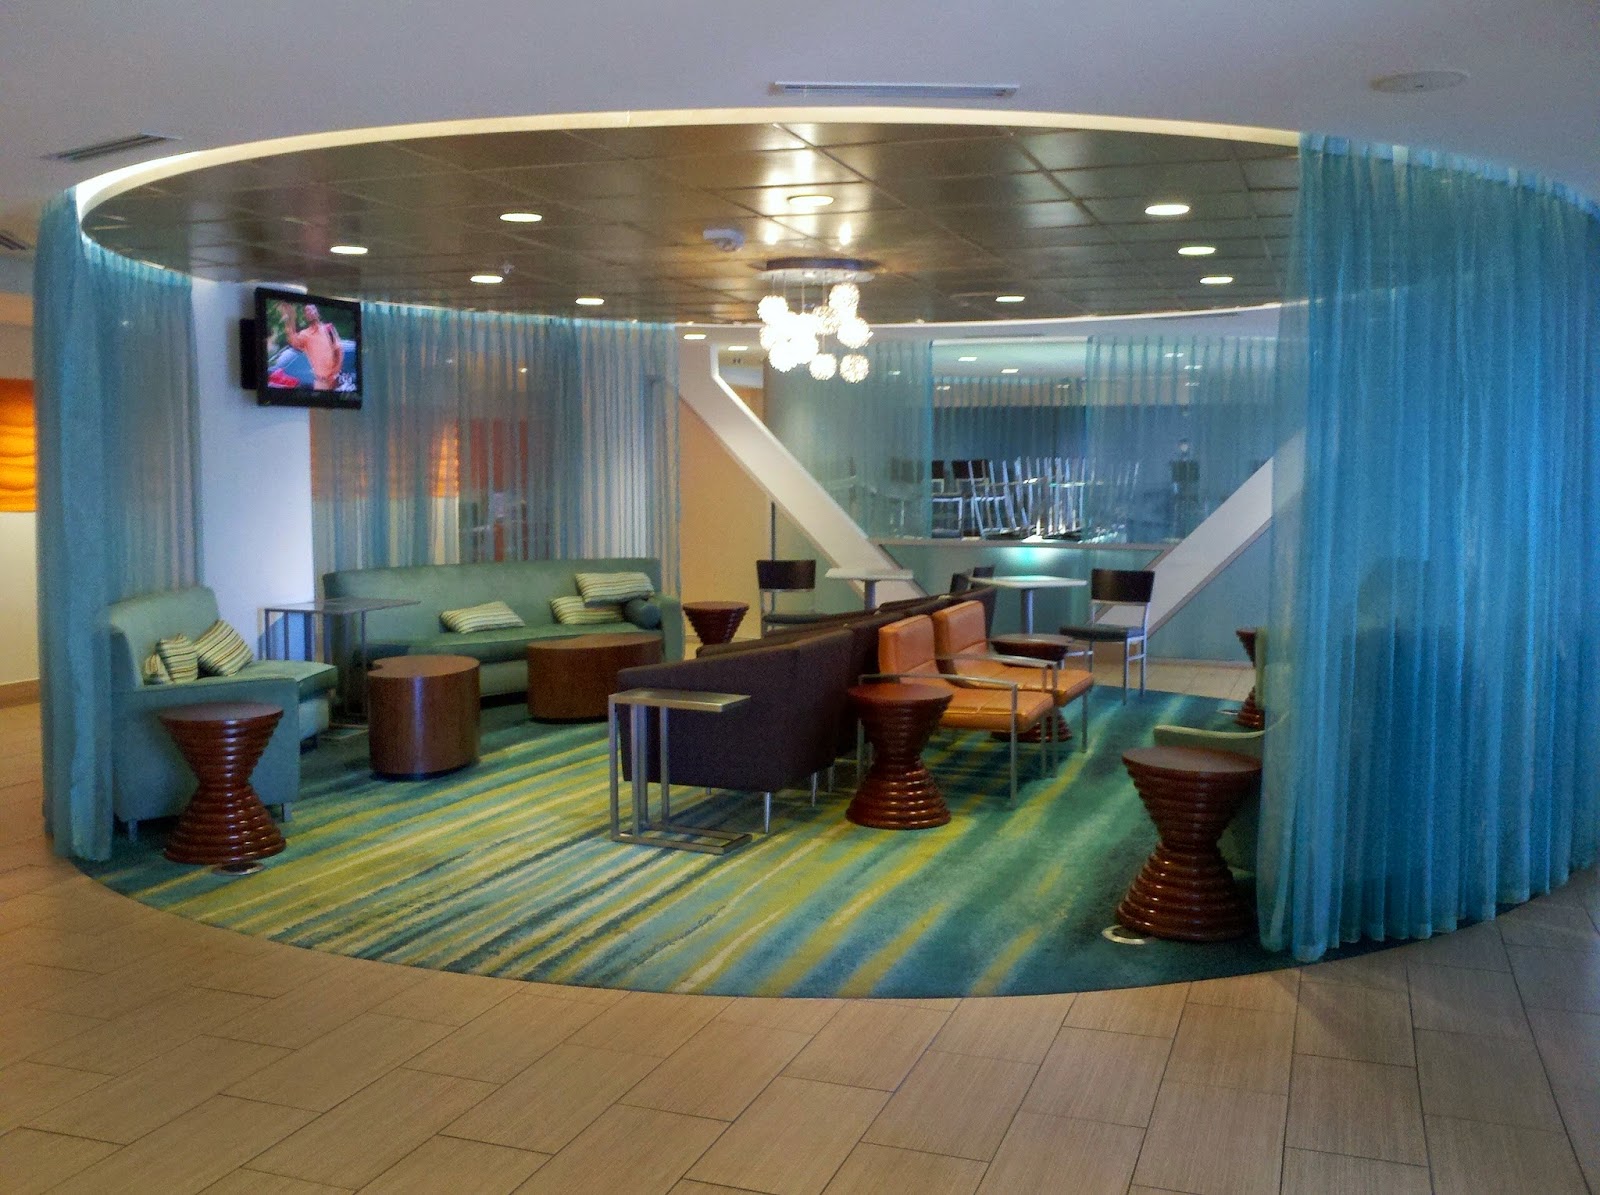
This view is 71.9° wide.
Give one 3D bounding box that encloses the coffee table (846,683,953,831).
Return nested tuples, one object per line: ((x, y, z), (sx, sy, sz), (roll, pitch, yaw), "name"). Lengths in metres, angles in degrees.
((0.539, 0.907, 6.430), (0.857, 0.830, 0.730), (0, 2, -2), "coffee table")

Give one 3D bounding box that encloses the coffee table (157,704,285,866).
((-3.128, 1.003, 5.883), (0.696, 0.752, 0.668), (-4, -9, -29), "coffee table")

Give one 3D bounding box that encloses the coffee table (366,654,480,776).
((-2.614, 0.819, 7.539), (0.815, 0.725, 0.826), (-2, 6, -32), "coffee table")

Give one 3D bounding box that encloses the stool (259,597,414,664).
((-3.960, 0.224, 8.903), (0.746, 0.438, 0.767), (3, 4, 27), "stool")

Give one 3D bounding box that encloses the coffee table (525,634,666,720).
((-1.724, 0.614, 8.935), (0.789, 0.502, 1.036), (2, 3, 30), "coffee table")

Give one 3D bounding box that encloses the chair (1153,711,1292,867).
((1.973, 0.848, 5.319), (0.514, 0.523, 0.530), (6, 1, -45), "chair")

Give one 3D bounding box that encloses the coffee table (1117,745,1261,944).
((1.738, 1.116, 5.019), (0.712, 0.700, 0.591), (5, -6, 8), "coffee table")

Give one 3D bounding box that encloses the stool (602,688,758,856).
((-0.624, 0.952, 6.155), (1.122, 0.830, 1.133), (-2, -3, 20), "stool")
